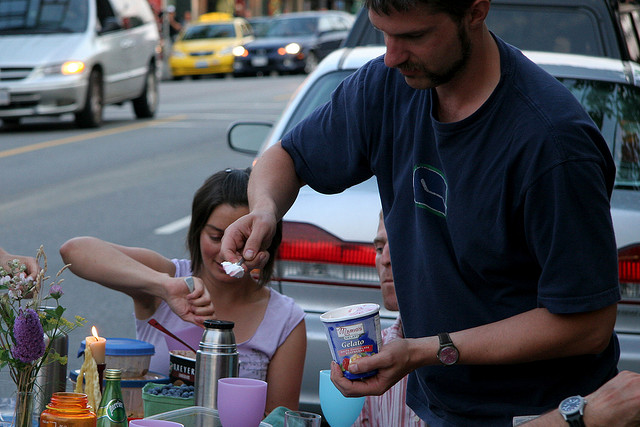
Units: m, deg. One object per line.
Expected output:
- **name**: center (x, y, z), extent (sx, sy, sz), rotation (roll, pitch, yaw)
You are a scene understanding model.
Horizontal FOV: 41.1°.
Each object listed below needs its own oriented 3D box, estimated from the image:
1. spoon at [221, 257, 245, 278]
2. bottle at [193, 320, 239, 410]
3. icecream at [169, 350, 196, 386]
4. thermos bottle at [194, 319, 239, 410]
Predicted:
- **spoon**: center (-0.392, 0.246, 4.084), extent (0.065, 0.067, 0.105), rotation (-10, 19, -25)
- **bottle**: center (-0.474, 0.779, 4.025), extent (0.176, 0.549, 0.190), rotation (4, 2, 0)
- **icecream**: center (-0.646, 0.750, 4.278), extent (0.139, 0.171, 0.139), rotation (1, 4, -37)
- **thermos bottle**: center (-0.468, 0.670, 3.984), extent (0.162, 0.441, 0.128), rotation (4, -6, -43)
